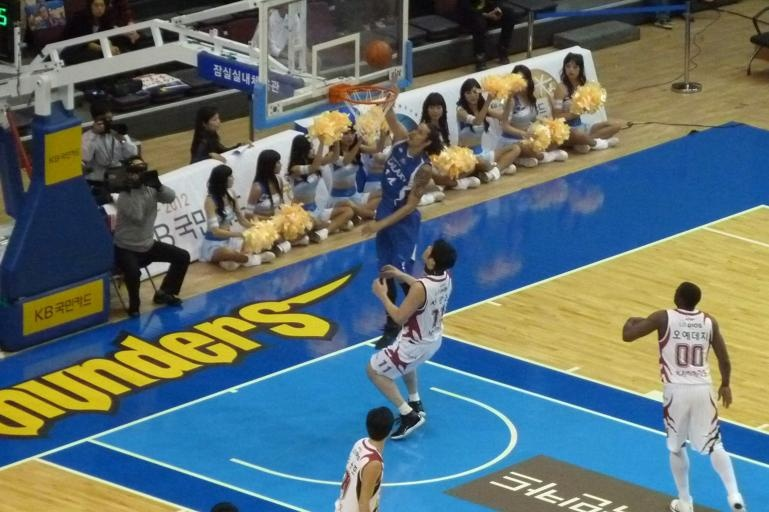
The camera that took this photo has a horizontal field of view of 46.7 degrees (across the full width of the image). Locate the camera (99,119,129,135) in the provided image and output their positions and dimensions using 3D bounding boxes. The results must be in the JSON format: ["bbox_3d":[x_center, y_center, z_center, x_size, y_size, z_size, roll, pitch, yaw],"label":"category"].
[{"bbox_3d":[-3.379,-1.631,11.155,0.262,0.235,0.075,-24,19,5],"label":"camera"}]

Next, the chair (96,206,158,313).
[{"bbox_3d":[-3.026,-0.161,10.585,0.735,0.747,1.140,-12,9,-26],"label":"chair"}]

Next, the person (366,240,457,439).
[{"bbox_3d":[0.266,0.819,8.345,0.826,1.969,0.424,-10,18,-19],"label":"person"}]

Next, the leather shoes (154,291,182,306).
[{"bbox_3d":[-2.556,0.508,10.438,0.306,0.123,0.155,9,23,14],"label":"leather shoes"}]
